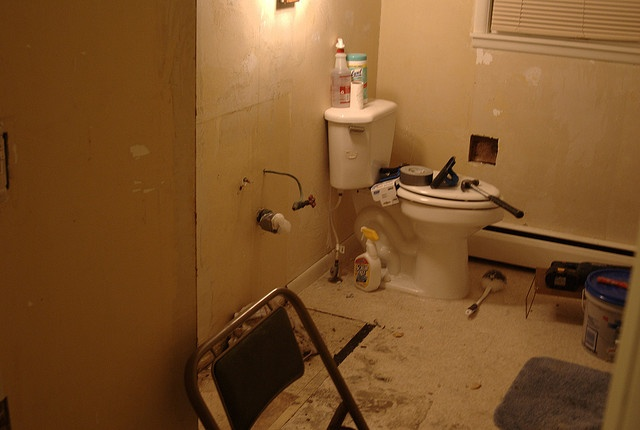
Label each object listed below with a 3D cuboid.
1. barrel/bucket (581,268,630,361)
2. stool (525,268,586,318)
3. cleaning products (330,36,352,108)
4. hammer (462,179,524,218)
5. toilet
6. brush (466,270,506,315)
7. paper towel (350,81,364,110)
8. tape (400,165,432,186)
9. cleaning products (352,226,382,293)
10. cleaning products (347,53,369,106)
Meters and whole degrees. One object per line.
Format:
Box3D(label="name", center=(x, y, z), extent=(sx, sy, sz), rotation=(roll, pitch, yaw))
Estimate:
Box3D(label="barrel/bucket", center=(1.318, 0.453, 2.451), extent=(0.170, 0.386, 0.348), rotation=(10, 25, 28))
Box3D(label="stool", center=(1.236, 0.394, 2.760), extent=(0.278, 0.252, 0.368), rotation=(11, 26, 27))
Box3D(label="cleaning products", center=(0.092, -0.753, 2.734), extent=(0.084, 0.330, 0.138), rotation=(12, 28, 22))
Box3D(label="hammer", center=(0.837, -0.105, 2.657), extent=(0.142, 0.081, 0.424), rotation=(2, 29, -37))
Box3D(label="toilet", center=(0.589, -0.141, 3.107), extent=(0.840, 1.190, 0.808), rotation=(9, 17, 24))
Box3D(label="brush", center=(0.925, 0.411, 2.897), extent=(0.135, 0.132, 0.417), rotation=(9, 26, 33))
Box3D(label="paper towel", center=(0.188, -0.631, 2.752), extent=(0.066, 0.133, 0.059), rotation=(-2, 22, -1))
Box3D(label="tape", center=(0.511, -0.210, 2.788), extent=(0.177, 0.070, 0.135), rotation=(3, 24, 11))
Box3D(label="cleaning products", center=(0.267, 0.247, 2.924), extent=(0.142, 0.354, 0.089), rotation=(19, 25, 40))
Box3D(label="cleaning products", center=(0.194, -0.759, 2.879), extent=(0.129, 0.245, 0.134), rotation=(9, 18, 34))
